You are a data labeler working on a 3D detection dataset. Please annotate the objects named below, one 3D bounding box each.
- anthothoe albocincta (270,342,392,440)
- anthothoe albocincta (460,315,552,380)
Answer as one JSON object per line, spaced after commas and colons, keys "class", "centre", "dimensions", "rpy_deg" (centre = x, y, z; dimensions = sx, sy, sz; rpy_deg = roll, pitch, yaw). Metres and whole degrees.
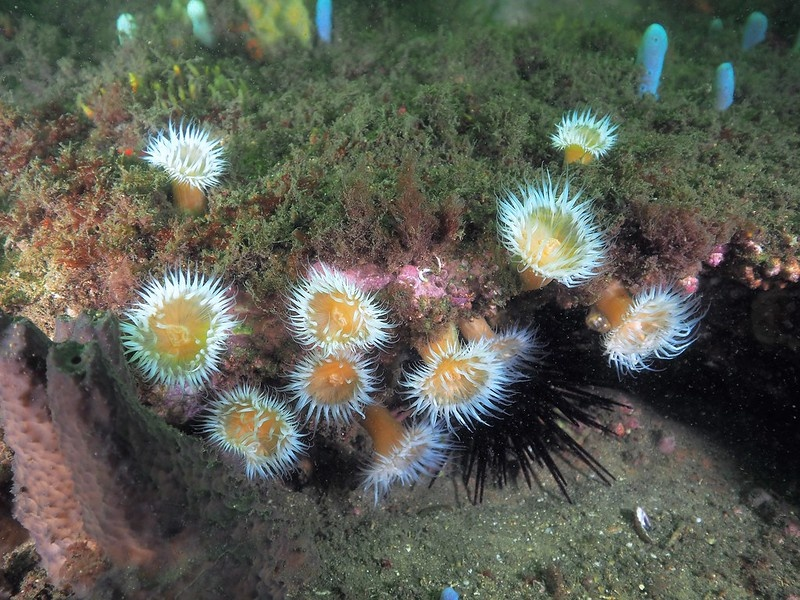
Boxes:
{"class": "anthothoe albocincta", "centre": [-0.728, 0.858, 8.132], "dimensions": [0.806, 0.790, 0.311], "rpy_deg": [44, 12, -20]}
{"class": "anthothoe albocincta", "centre": [1.086, 0.415, 8.493], "dimensions": [0.817, 0.552, 0.246], "rpy_deg": [37, -31, -4]}
